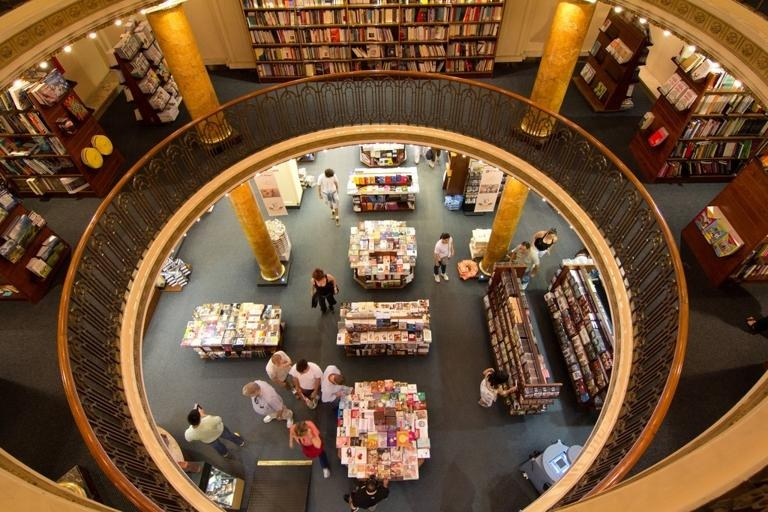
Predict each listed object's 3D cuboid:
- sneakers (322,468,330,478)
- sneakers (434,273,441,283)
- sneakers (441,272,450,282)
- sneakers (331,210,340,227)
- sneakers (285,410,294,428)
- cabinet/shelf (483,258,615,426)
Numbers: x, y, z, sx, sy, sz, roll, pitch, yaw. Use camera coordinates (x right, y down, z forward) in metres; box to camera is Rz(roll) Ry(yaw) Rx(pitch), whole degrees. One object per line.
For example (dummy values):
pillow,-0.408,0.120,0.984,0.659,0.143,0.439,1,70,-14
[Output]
sneakers,-1.232,4.694,9.679,0.111,0.163,0.249,-1,65,-1
sneakers,1.462,0.596,12.209,0.102,0.097,0.251,-23,67,-3
sneakers,1.700,0.561,12.267,0.116,0.090,0.230,-26,50,-19
sneakers,-1.416,-1.168,13.336,0.171,0.299,0.540,-2,81,1
sneakers,-2.124,3.692,10.189,0.155,0.298,0.458,0,91,1
cabinet/shelf,3.862,2.149,11.058,2.461,1.527,3.497,0,63,0
